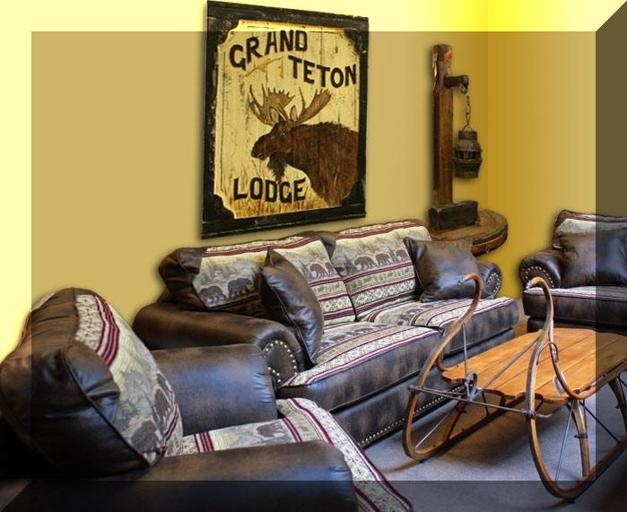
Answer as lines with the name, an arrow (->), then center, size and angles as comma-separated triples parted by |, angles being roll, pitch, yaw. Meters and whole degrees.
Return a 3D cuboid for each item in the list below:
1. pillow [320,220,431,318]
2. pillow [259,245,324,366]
pillow -> 0.368, 0.046, 3.337 | 0.604, 0.553, 0.165 | -13, -10, -39
pillow -> -0.044, 0.210, 2.711 | 0.349, 0.575, 0.654 | 1, 19, 4
